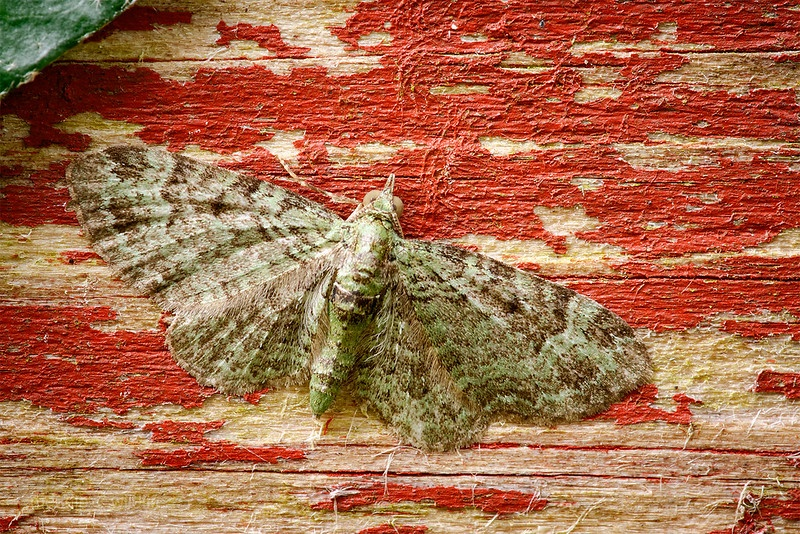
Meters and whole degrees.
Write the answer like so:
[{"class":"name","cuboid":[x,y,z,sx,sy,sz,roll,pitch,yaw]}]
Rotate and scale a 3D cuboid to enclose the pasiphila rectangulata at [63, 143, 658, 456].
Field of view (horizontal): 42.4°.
[{"class":"pasiphila rectangulata","cuboid":[-0.222,0.084,3.050,1.574,0.183,0.814,36,84,5]}]
